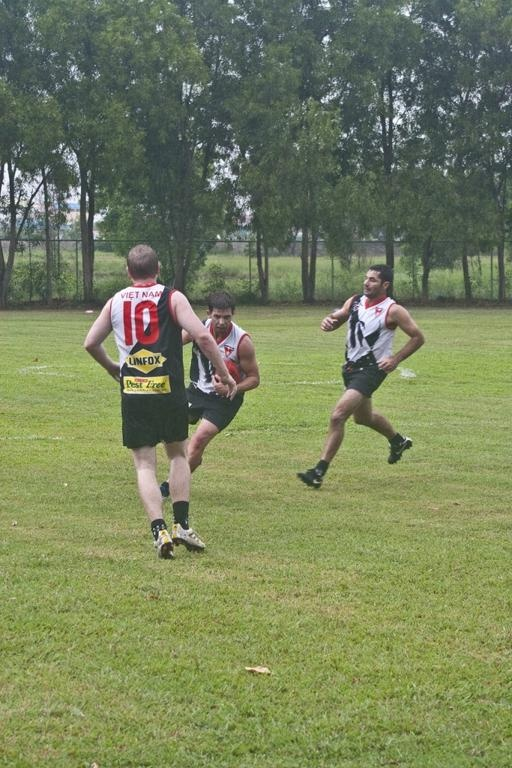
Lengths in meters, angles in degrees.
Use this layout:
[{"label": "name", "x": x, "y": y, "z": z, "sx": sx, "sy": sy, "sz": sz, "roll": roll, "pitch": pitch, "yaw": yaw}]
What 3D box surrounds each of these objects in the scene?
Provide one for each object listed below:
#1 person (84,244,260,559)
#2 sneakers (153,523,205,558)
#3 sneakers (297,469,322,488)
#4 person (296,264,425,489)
[{"label": "person", "x": -0.520, "y": 0.067, "z": 5.869, "sx": 0.806, "sy": 1.650, "sz": 0.680, "roll": -1, "pitch": 3, "yaw": -7}, {"label": "sneakers", "x": -0.386, "y": 0.824, "z": 5.690, "sx": 0.116, "sy": 0.172, "sz": 0.330, "roll": -26, "pitch": -24, "yaw": 28}, {"label": "sneakers", "x": 0.381, "y": 0.640, "z": 7.482, "sx": 0.117, "sy": 0.080, "sz": 0.162, "roll": 7, "pitch": 11, "yaw": 3}, {"label": "person", "x": 0.797, "y": -0.092, "z": 8.006, "sx": 0.873, "sy": 1.573, "sz": 1.370, "roll": 0, "pitch": 3, "yaw": 9}]
